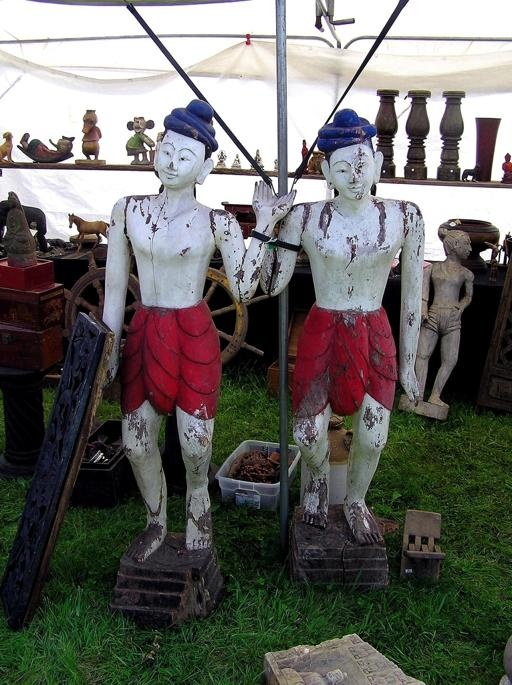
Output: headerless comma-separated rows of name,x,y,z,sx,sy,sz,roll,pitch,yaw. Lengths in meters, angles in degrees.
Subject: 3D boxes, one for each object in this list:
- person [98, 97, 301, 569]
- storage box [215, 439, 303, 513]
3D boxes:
person,-0.238,-0.012,1.988,0.621,1.670,0.345,-2,14,-17
storage box,-0.020,0.734,2.960,0.275,0.126,0.389,4,19,16
